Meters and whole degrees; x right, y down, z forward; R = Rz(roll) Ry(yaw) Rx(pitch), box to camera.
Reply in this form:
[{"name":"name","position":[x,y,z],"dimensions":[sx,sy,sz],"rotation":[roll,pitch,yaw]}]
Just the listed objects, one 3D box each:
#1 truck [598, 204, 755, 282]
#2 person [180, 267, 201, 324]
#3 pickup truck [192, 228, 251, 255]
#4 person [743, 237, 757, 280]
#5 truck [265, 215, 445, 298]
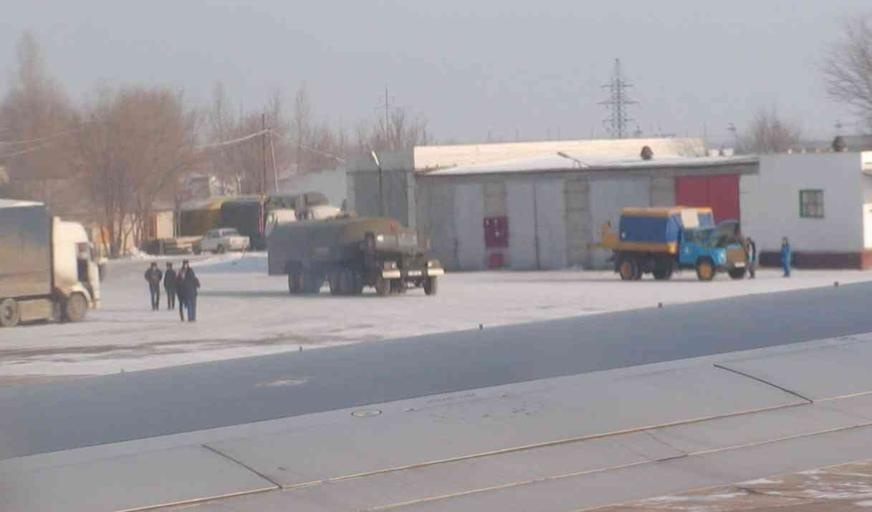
[{"name":"truck","position":[7.887,-0.512,46.128],"dimensions":[4.131,1.847,2.195],"rotation":[-1,1,30]},{"name":"person","position":[-6.711,1.033,38.673],"dimensions":[0.571,1.504,0.498],"rotation":[1,17,-12]},{"name":"pickup truck","position":[-8.451,-0.640,56.502],"dimensions":[2.133,1.267,1.730],"rotation":[2,13,17]},{"name":"person","position":[10.028,0.093,45.453],"dimensions":[0.371,1.320,0.866],"rotation":[1,14,11]},{"name":"truck","position":[-2.471,0.011,41.406],"dimensions":[3.532,1.605,2.897],"rotation":[0,1,32]}]
